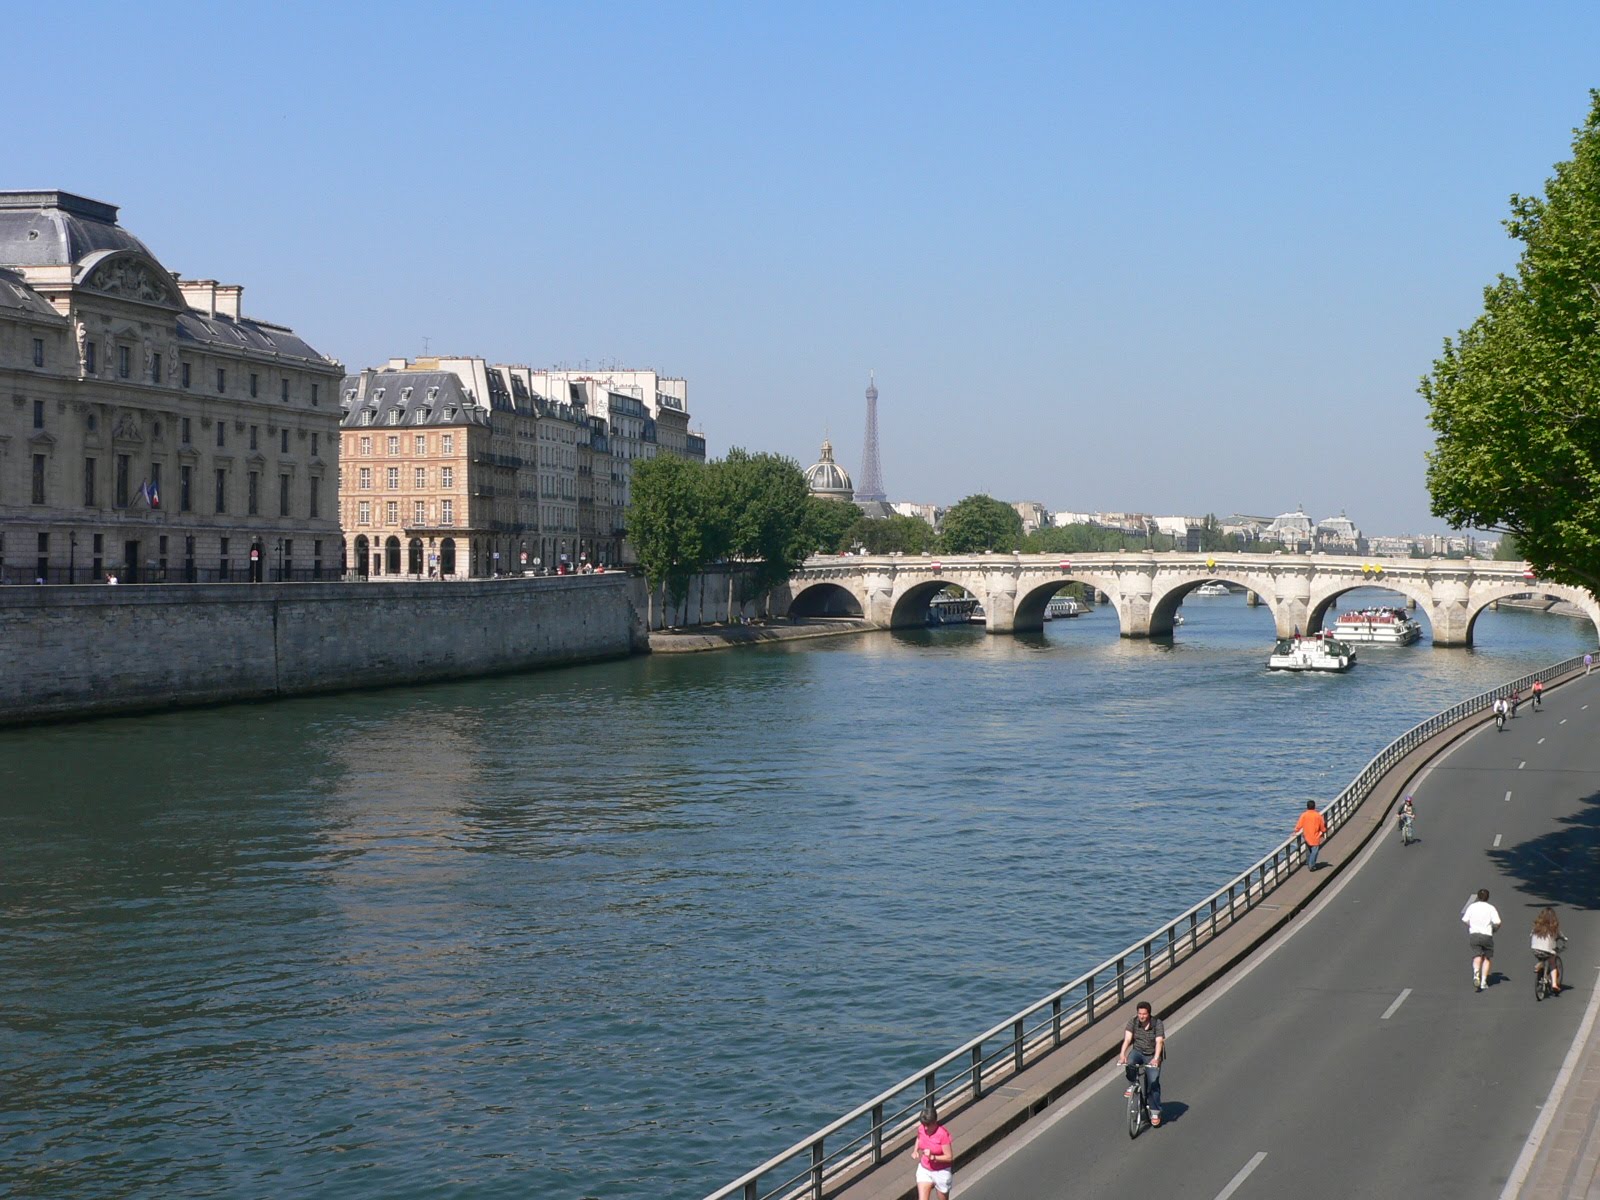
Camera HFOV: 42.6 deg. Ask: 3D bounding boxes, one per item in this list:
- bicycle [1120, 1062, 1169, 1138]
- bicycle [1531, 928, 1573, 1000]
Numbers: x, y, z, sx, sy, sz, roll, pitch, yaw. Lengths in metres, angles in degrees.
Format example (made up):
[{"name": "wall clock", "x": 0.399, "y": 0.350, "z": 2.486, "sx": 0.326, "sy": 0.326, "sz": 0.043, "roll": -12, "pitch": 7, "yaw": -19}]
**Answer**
[{"name": "bicycle", "x": 7.747, "y": 11.328, "z": 46.653, "sx": 0.627, "sy": 1.523, "sz": 1.294, "roll": 7, "pitch": 9, "yaw": 34}, {"name": "bicycle", "x": 19.882, "y": 9.562, "z": 54.464, "sx": 0.837, "sy": 1.765, "sz": 1.518, "roll": 5, "pitch": 7, "yaw": 20}]
